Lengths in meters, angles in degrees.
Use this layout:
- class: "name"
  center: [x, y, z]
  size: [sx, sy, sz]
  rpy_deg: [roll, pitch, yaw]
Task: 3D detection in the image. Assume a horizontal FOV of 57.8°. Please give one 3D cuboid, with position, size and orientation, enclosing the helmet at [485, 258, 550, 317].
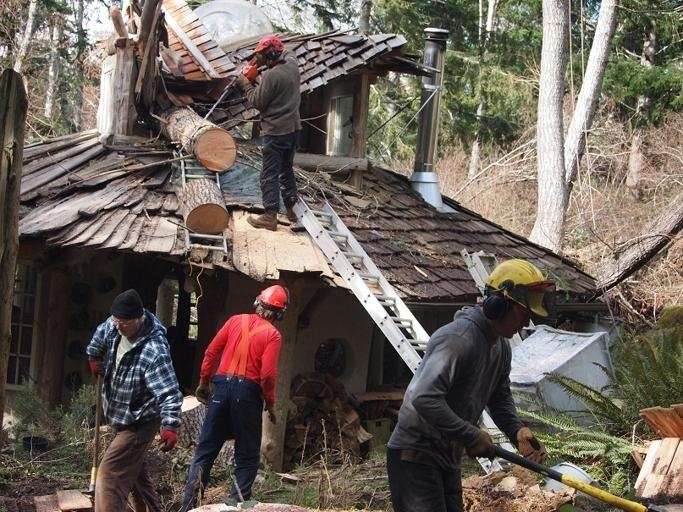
- class: "helmet"
  center: [1.335, 0.269, 4.585]
  size: [0.417, 0.294, 0.380]
  rpy_deg: [25, -3, 3]

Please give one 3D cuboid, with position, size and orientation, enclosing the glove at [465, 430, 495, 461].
- class: "glove"
  center: [0.960, 1.319, 4.322]
  size: [0.166, 0.225, 0.234]
  rpy_deg: [1, -2, 43]

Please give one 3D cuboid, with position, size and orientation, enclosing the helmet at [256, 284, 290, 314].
- class: "helmet"
  center: [-0.716, 0.456, 6.843]
  size: [0.256, 0.281, 0.308]
  rpy_deg: [28, 10, 22]

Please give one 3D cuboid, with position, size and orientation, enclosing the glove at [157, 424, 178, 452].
- class: "glove"
  center: [-1.553, 1.631, 5.566]
  size: [0.187, 0.220, 0.157]
  rpy_deg: [-4, -6, 29]

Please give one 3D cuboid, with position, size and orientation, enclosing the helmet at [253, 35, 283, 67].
- class: "helmet"
  center: [-1.077, -2.900, 8.811]
  size: [0.464, 0.339, 0.249]
  rpy_deg: [21, -19, 44]

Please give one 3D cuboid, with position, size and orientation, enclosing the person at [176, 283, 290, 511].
- class: "person"
  center: [-1.100, 1.440, 6.521]
  size: [0.971, 1.689, 0.845]
  rpy_deg: [2, -2, -5]

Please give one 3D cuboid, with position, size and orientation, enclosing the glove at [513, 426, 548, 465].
- class: "glove"
  center: [1.432, 1.444, 4.766]
  size: [0.297, 0.168, 0.112]
  rpy_deg: [43, 10, 8]

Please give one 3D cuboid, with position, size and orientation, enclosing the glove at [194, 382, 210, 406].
- class: "glove"
  center: [-1.548, 1.556, 7.024]
  size: [0.185, 0.230, 0.253]
  rpy_deg: [4, -10, -4]

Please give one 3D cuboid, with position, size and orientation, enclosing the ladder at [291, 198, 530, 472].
- class: "ladder"
  center: [0.633, 1.039, 8.027]
  size: [0.612, 4.927, 0.415]
  rpy_deg: [-4, -32, -49]

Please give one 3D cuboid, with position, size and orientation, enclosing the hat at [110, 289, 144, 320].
- class: "hat"
  center: [-1.922, 0.441, 5.569]
  size: [0.219, 0.236, 0.292]
  rpy_deg: [9, -6, -28]
